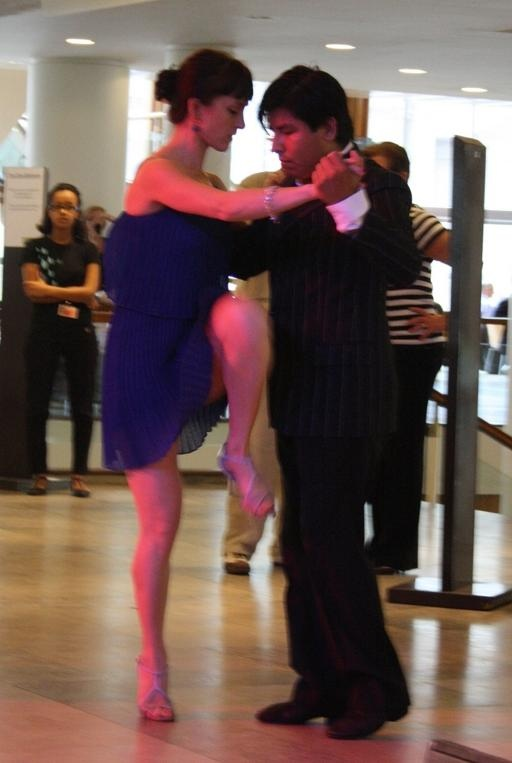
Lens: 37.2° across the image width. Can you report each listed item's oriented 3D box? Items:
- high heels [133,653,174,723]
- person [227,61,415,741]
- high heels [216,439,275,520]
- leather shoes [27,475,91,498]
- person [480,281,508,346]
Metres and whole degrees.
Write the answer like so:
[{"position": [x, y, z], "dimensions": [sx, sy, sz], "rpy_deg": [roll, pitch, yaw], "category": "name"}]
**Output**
[{"position": [-0.187, 0.564, 1.375], "dimensions": [0.046, 0.057, 0.142], "rpy_deg": [2, -8, -13], "category": "high heels"}, {"position": [0.113, 0.116, 1.320], "dimensions": [0.296, 0.920, 0.303], "rpy_deg": [2, -1, 43], "category": "person"}, {"position": [-0.017, 0.157, 1.312], "dimensions": [0.052, 0.150, 0.064], "rpy_deg": [-33, -5, -35], "category": "high heels"}, {"position": [-1.295, 0.682, 5.006], "dimensions": [0.514, 0.130, 0.253], "rpy_deg": [2, -1, 12], "category": "leather shoes"}, {"position": [1.517, -0.406, 4.879], "dimensions": [0.159, 0.295, 0.783], "rpy_deg": [2, -1, 18], "category": "person"}]
